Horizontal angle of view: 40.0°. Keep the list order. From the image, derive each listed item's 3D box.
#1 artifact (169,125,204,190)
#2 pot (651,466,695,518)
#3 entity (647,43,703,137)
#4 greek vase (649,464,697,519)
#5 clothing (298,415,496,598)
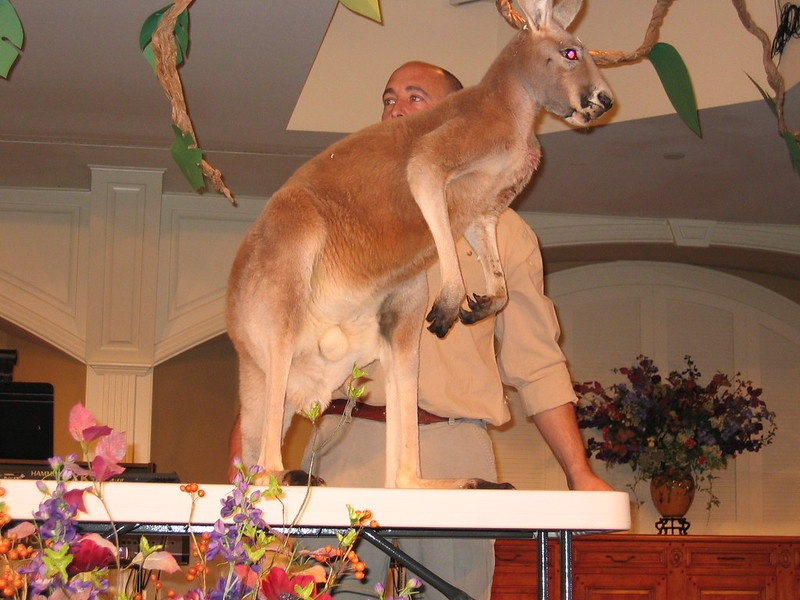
[{"bbox_3d":[-0.774,-0.519,4.058,0.100,0.256,0.027,-22,13,21],"label":"artifact"},{"bbox_3d":[1.926,1.369,7.846,0.304,0.404,0.319,1,-13,0],"label":"pot"},{"bbox_3d":[1.079,-0.847,4.257,0.163,0.451,0.291,-6,-16,18],"label":"entity"},{"bbox_3d":[1.945,1.370,7.859,0.309,0.416,0.328,2,-13,-2],"label":"greek vase"},{"bbox_3d":[-0.016,0.789,4.139,0.684,1.077,0.373,1,-8,-5],"label":"clothing"}]
